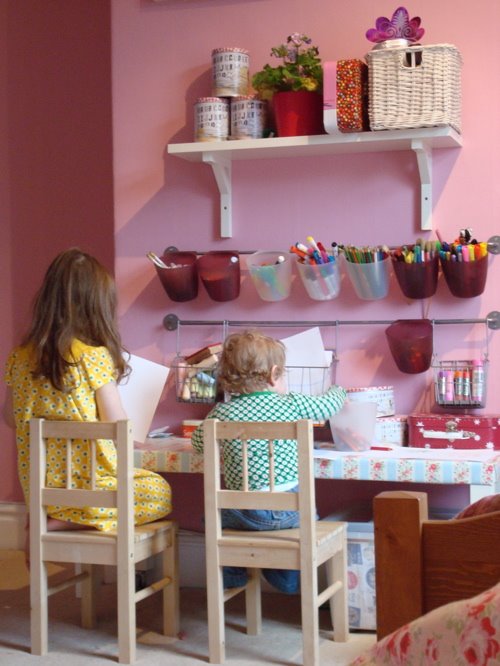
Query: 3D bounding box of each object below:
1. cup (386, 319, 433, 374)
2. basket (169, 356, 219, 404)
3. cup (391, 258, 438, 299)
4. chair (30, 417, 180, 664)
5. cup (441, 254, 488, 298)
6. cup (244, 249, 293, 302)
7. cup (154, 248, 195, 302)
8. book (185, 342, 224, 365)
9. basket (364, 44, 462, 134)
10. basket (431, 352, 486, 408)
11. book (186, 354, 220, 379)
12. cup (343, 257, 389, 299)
[{"bbox_3d":[0.469,0.038,2.113,0.164,0.158,0.158,-1,-7,0],"label":"cup"},{"bbox_3d":[-0.176,0.143,2.298,0.097,0.130,0.126,-7,7,-42],"label":"basket"},{"bbox_3d":[0.479,-0.159,2.100,0.114,0.108,0.114,0,-4,0],"label":"cup"},{"bbox_3d":[-0.371,0.484,1.916,0.390,0.604,0.340,2,8,16],"label":"chair"},{"bbox_3d":[0.606,-0.157,2.030,0.138,0.110,0.086,1,6,13],"label":"cup"},{"bbox_3d":[0.068,-0.181,2.319,0.160,0.127,0.153,-8,20,3],"label":"cup"},{"bbox_3d":[-0.223,-0.185,2.340,0.180,0.148,0.141,-1,22,18],"label":"cup"},{"bbox_3d":[-0.151,0.055,2.294,0.086,0.018,0.085,-22,-2,34],"label":"book"},{"bbox_3d":[0.437,-0.656,1.975,0.234,0.205,0.081,-1,-4,8],"label":"basket"},{"bbox_3d":[0.584,0.128,2.032,0.138,0.133,0.084,-1,6,14],"label":"basket"},{"bbox_3d":[-0.148,0.100,2.289,0.087,0.072,0.029,5,-10,23],"label":"book"},{"bbox_3d":[0.342,-0.161,2.139,0.120,0.114,0.071,0,9,19],"label":"cup"}]
